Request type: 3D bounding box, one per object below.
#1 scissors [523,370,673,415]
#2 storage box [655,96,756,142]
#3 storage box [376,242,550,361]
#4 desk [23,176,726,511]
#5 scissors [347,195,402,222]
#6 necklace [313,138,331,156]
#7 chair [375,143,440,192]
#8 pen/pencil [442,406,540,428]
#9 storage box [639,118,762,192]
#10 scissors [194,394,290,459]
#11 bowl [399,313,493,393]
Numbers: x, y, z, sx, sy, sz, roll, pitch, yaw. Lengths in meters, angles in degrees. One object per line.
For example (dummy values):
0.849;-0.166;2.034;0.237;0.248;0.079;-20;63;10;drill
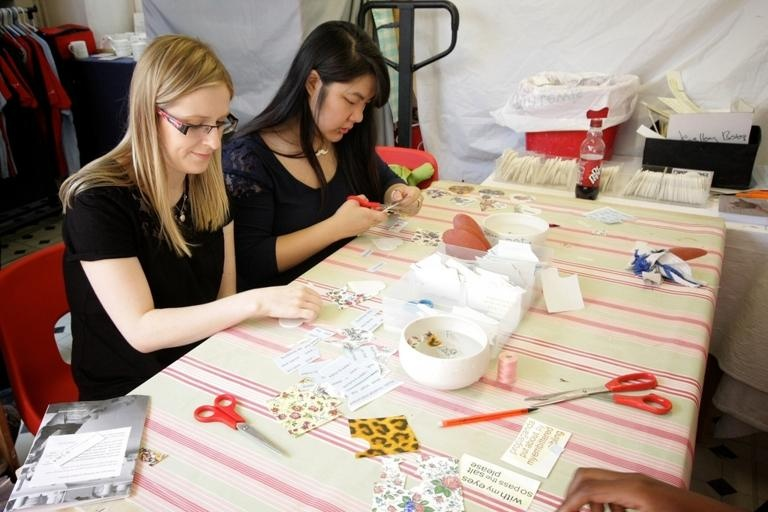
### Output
0.558;0.360;1.316;0.268;0.029;0.134;-3;25;7;scissors
1.598;-0.645;2.540;0.479;0.161;0.288;7;30;27;storage box
0.220;0.106;1.519;0.336;0.142;0.339;15;37;23;storage box
-0.069;0.245;1.464;0.823;0.319;1.338;15;42;18;desk
-0.035;-0.194;2.055;0.164;0.043;0.098;-7;59;-12;scissors
-0.268;-0.473;2.185;0.027;0.071;0.076;5;-15;31;necklace
0.119;-0.491;2.826;0.300;0.360;0.310;-6;16;-21;chair
0.267;0.406;1.254;0.222;0.015;0.018;-5;-10;-10;pen/pencil
1.550;-0.467;2.430;0.534;0.231;0.366;9;27;26;storage box
-0.369;0.413;1.226;0.246;0.024;0.107;23;35;33;scissors
0.155;0.271;1.364;0.234;0.106;0.224;2;22;-1;bowl
